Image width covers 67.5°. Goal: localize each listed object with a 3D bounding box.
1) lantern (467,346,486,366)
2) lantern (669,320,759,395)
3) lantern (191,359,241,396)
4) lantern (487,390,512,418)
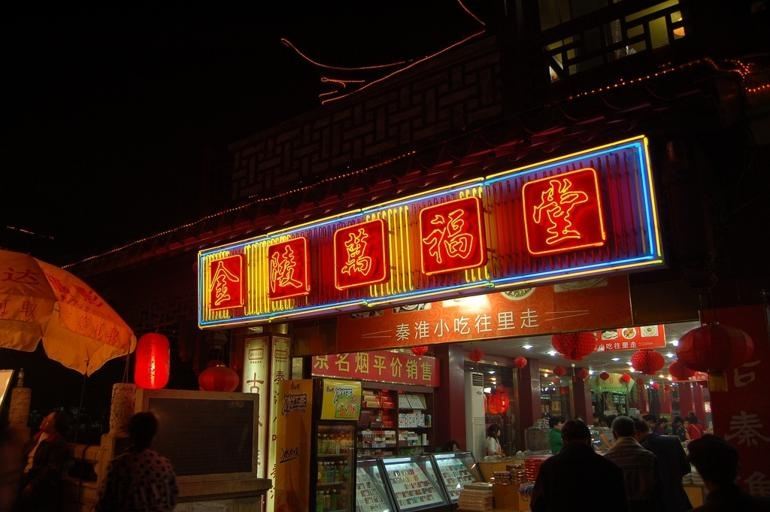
[{"bbox_3d":[2.247,2.424,13.976,0.486,0.562,0.497,3,-11,-28],"label":"lantern"},{"bbox_3d":[3.925,1.064,6.809,0.779,0.771,0.801,-1,13,42],"label":"lantern"},{"bbox_3d":[-2.783,2.039,9.598,0.607,0.633,0.623,-3,-5,36],"label":"lantern"},{"bbox_3d":[3.178,4.167,16.150,0.391,0.859,0.829,-3,-13,30],"label":"lantern"}]
